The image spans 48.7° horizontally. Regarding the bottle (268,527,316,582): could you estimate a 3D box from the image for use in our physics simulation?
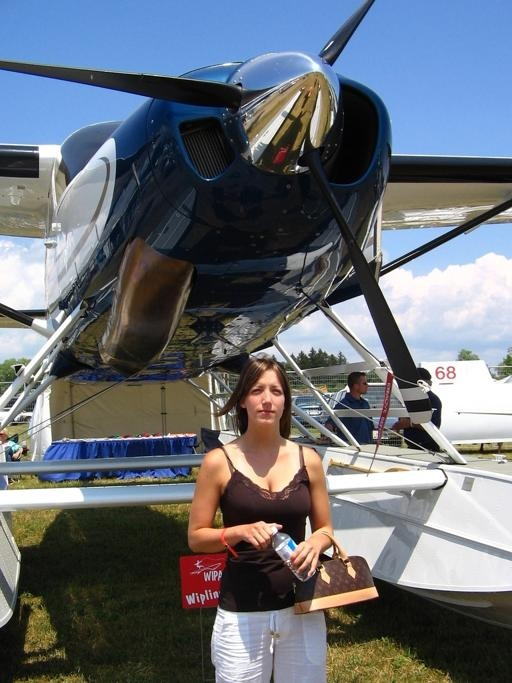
[{"bbox_3d":[0.078,0.505,1.342,0.073,0.113,0.061,-6,-6,40],"label":"bottle"}]
